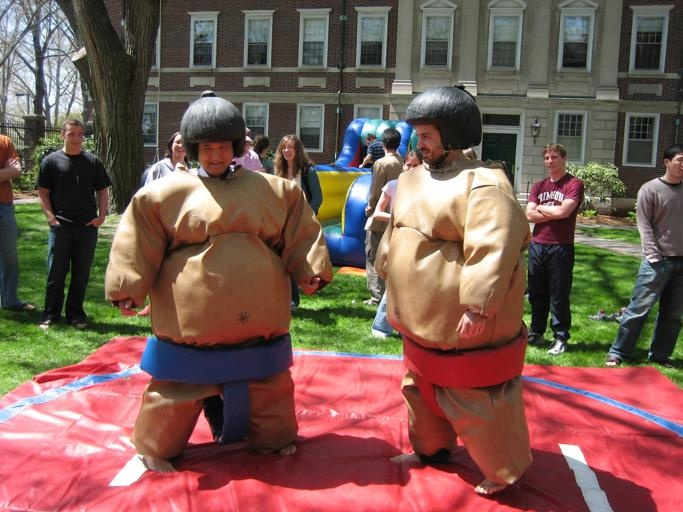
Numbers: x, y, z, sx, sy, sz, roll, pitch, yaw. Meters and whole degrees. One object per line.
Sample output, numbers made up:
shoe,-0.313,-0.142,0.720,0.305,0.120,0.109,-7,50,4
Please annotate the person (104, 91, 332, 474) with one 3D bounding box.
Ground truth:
person,-0.714,0.167,3.896,1.250,2.126,0.482,-3,12,-21

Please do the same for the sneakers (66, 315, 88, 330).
sneakers,-2.512,0.640,6.351,0.241,0.110,0.089,-1,1,37

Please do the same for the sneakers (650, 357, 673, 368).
sneakers,2.847,0.944,5.944,0.116,0.050,0.089,11,-5,15

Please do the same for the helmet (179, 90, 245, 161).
helmet,-0.736,-0.781,3.860,0.326,0.363,0.358,-4,25,-9

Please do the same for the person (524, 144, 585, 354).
person,1.935,-0.047,6.199,0.486,1.825,0.476,6,12,20

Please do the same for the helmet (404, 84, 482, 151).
helmet,0.587,-0.802,3.872,0.448,0.400,0.344,-1,11,-28

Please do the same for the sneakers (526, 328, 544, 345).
sneakers,1.856,0.788,6.415,0.107,0.146,0.309,0,-6,9

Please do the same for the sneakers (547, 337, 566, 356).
sneakers,1.987,0.846,6.168,0.085,0.110,0.243,-6,-4,34

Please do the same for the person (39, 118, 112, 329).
person,-2.494,-0.294,6.228,0.655,1.908,0.375,-4,13,-25

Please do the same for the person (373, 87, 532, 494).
person,0.665,0.187,3.751,0.925,2.219,0.514,6,12,22

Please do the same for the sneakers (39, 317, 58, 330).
sneakers,-2.727,0.626,6.231,0.084,0.105,0.233,1,-5,-19

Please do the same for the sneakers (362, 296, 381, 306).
sneakers,0.352,0.508,7.611,0.096,0.074,0.156,35,-12,-28
